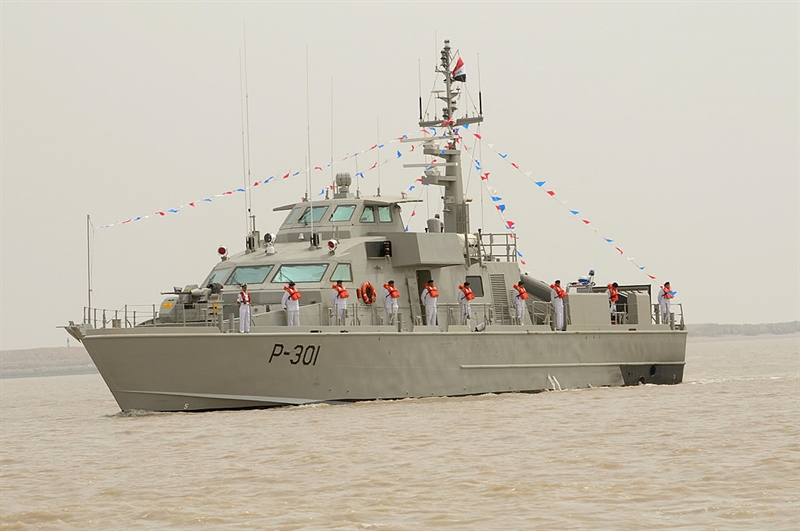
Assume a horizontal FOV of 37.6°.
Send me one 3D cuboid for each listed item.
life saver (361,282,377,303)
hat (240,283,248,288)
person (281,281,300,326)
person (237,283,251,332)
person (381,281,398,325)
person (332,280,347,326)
[{"bbox_3d":[-0.735,0.605,25.829,0.246,0.500,0.493,-2,-4,21],"label":"life saver"},{"bbox_3d":[-3.305,0.406,24.618,0.110,0.076,0.131,-1,-12,-36],"label":"hat"},{"bbox_3d":[-2.309,0.794,24.587,0.376,0.962,0.669,-1,-4,-5],"label":"person"},{"bbox_3d":[-3.231,0.876,24.185,0.240,1.011,0.748,0,-4,-8],"label":"person"},{"bbox_3d":[-0.222,0.815,25.742,0.295,1.003,0.620,-1,-4,-1],"label":"person"},{"bbox_3d":[-1.307,0.815,25.169,0.331,0.943,0.558,-1,-4,-2],"label":"person"}]
